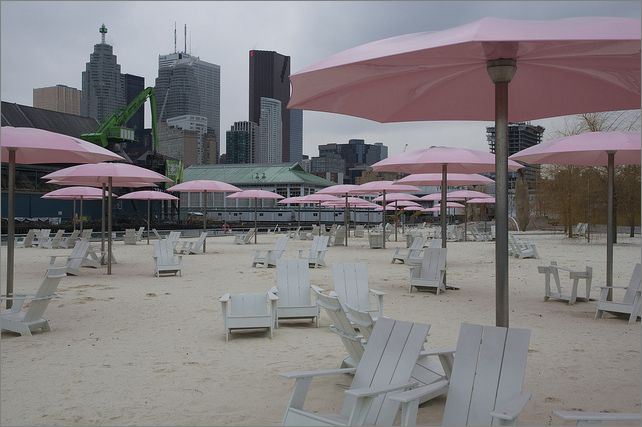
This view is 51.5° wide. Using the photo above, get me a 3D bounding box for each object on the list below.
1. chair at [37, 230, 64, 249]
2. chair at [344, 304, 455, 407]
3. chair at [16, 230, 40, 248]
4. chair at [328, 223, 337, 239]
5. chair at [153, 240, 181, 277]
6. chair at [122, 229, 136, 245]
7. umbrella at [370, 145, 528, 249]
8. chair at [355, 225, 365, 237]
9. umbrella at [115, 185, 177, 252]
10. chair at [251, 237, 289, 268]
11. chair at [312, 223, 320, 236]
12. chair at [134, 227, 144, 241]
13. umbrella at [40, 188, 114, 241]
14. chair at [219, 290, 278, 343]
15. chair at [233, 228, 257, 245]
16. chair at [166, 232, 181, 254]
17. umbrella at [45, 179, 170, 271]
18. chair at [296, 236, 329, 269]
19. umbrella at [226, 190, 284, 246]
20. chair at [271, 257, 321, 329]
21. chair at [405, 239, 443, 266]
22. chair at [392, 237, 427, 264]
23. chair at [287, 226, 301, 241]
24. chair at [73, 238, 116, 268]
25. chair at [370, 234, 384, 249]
[{"bbox_3d":[-10.831,1.043,26.832,1.255,0.974,0.708,1,0,32],"label":"chair"},{"bbox_3d":[1.073,1.826,8.969,1.436,1.103,1.025,-7,4,-19],"label":"chair"},{"bbox_3d":[-12.140,1.057,27.679,1.276,0.902,0.828,-1,-1,41],"label":"chair"},{"bbox_3d":[0.605,0.907,35.748,0.447,0.624,0.455,-2,5,-23],"label":"chair"},{"bbox_3d":[-4.192,1.192,17.689,0.720,0.975,1.021,0,4,-23],"label":"chair"},{"bbox_3d":[-8.509,1.054,29.402,0.538,0.706,0.758,1,1,-19],"label":"chair"},{"bbox_3d":[2.830,-0.049,15.508,2.756,2.326,2.851,-1,1,8],"label":"umbrella"},{"bbox_3d":[2.227,1.020,38.480,0.623,0.635,0.593,0,0,-31],"label":"chair"},{"bbox_3d":[-10.563,0.197,39.309,3.925,3.867,3.996,-1,-3,-12],"label":"umbrella"},{"bbox_3d":[-1.436,1.163,20.033,1.224,1.218,0.857,0,-1,-44],"label":"chair"},{"bbox_3d":[-0.298,0.911,36.795,0.526,1.021,0.539,-1,2,-4],"label":"chair"},{"bbox_3d":[-9.339,1.048,33.991,0.237,0.255,0.638,4,30,-2],"label":"chair"},{"bbox_3d":[-13.467,0.040,35.829,3.280,2.250,3.295,-1,-2,22],"label":"umbrella"},{"bbox_3d":[-1.253,1.772,11.610,0.944,0.777,0.953,0,-1,-5],"label":"chair"},{"bbox_3d":[-3.677,1.206,31.501,1.199,0.960,0.905,-4,-2,-5],"label":"chair"},{"bbox_3d":[-4.963,0.994,22.219,0.685,0.772,0.727,-5,-1,-10],"label":"chair"},{"bbox_3d":[-8.587,-0.244,24.843,4.210,3.372,4.168,-3,4,-40],"label":"umbrella"},{"bbox_3d":[-0.226,1.149,20.180,0.759,1.068,1.050,-1,9,36],"label":"chair"},{"bbox_3d":[-5.133,0.314,52.543,4.447,4.316,4.441,1,0,-17],"label":"umbrella"},{"bbox_3d":[-0.504,1.371,12.612,0.849,1.193,1.178,0,4,-4],"label":"chair"},{"bbox_3d":[3.076,1.169,19.412,1.028,0.785,0.759,-12,-1,-13],"label":"chair"},{"bbox_3d":[2.847,1.170,20.132,1.126,0.962,0.796,-5,0,-23],"label":"chair"},{"bbox_3d":[-1.692,1.163,37.977,0.937,1.068,0.724,0,-1,19],"label":"chair"},{"bbox_3d":[-6.699,1.210,18.886,0.928,1.002,1.343,-2,-6,42],"label":"chair"},{"bbox_3d":[2.357,1.162,27.946,0.566,0.562,0.580,0,-2,-5],"label":"chair"}]
